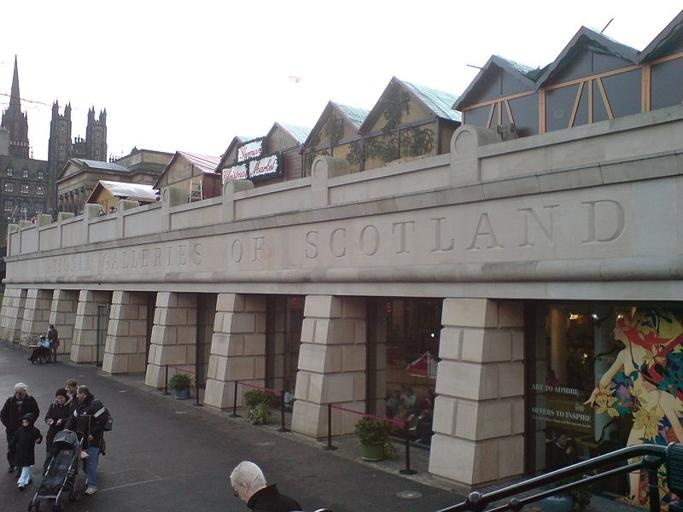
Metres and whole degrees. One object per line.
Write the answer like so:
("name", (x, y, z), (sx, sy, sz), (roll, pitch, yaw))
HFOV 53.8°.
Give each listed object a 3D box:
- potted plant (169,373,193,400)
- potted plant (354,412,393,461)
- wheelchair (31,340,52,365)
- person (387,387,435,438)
("potted plant", (-5.940, 4.808, 24.709), (0.795, 0.920, 0.810), (2, -3, -40))
("potted plant", (0.758, 4.739, 17.505), (0.970, 1.092, 0.930), (-12, -16, 32))
("wheelchair", (-14.912, 4.886, 33.600), (1.117, 1.411, 1.085), (-3, -7, 43))
("person", (1.961, 4.345, 18.538), (0.719, 1.489, 1.388), (4, -4, -39))
